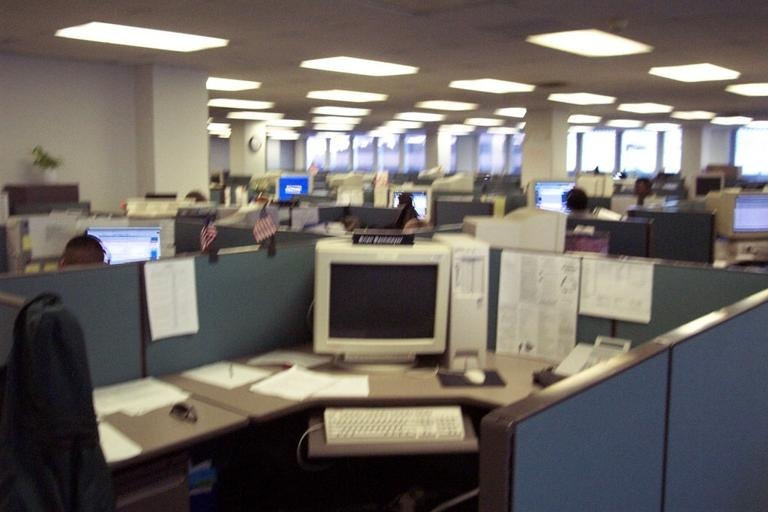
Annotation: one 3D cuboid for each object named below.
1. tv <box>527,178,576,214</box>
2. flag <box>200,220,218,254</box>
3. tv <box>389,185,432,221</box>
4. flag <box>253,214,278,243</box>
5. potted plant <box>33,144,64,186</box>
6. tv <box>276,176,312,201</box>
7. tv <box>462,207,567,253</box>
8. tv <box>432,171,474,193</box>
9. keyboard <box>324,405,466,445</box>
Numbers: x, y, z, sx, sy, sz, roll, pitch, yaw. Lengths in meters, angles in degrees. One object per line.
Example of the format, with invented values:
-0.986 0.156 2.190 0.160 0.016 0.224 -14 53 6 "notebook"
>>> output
1.783 -0.638 6.546 0.695 0.448 0.356 -1 5 -7 "tv"
-1.084 -0.153 3.740 0.094 0.206 0.078 -12 -26 16 "flag"
0.268 -0.627 7.702 0.575 0.449 0.298 -3 3 -28 "tv"
-0.674 -0.144 3.565 0.143 0.172 0.047 -9 -17 18 "flag"
-4.130 -1.109 7.508 0.465 0.531 0.468 -1 2 -28 "potted plant"
-1.368 -1.015 9.167 0.708 0.430 0.361 -2 18 -13 "tv"
0.841 -0.163 3.715 0.402 0.168 0.382 0 7 -7 "tv"
1.082 -1.103 9.390 0.576 0.203 0.580 2 4 1 "tv"
0.049 0.710 2.587 0.598 0.084 0.179 -1 7 -2 "keyboard"
